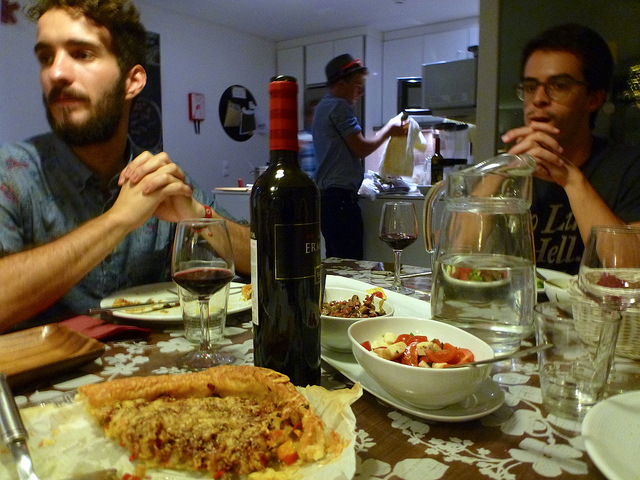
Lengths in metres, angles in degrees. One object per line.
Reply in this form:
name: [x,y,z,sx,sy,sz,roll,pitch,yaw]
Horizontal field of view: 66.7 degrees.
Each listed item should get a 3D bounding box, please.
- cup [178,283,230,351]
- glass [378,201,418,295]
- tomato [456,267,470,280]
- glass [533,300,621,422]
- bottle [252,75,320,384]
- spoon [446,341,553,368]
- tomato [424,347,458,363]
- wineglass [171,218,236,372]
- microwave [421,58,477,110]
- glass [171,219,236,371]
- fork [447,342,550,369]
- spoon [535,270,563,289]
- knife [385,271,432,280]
cup: [-0.243,0.159,1.037,0.114,0.092,0.120,0,7,0]
glass: [0.236,0.035,1.526,0.104,0.295,0.107,2,9,-12]
tomato: [0.255,0.061,0.880,0.020,0.022,0.021,0,2,43]
glass: [0.404,0.200,0.779,0.108,0.155,0.114,2,-2,-34]
bottle: [-0.053,-0.006,0.736,0.100,0.462,0.062,-2,11,-8]
spoon: [0.285,0.186,0.791,0.196,0.022,0.035,-11,29,14]
tomato: [0.184,0.176,0.751,0.041,0.014,0.020,0,6,-13]
wineglass: [-0.218,0.085,0.898,0.098,0.294,0.105,1,4,-15]
microwave: [0.961,-1.277,3.977,0.538,0.368,0.300,-12,25,-18]
glass: [-0.218,0.085,0.900,0.098,0.292,0.105,1,4,-15]
fork: [0.284,0.188,0.791,0.172,0.021,0.030,-15,14,21]
spoon: [0.549,0.097,1.178,0.072,0.009,0.014,37,48,15]
knife: [0.265,0.111,1.491,0.170,0.009,0.017,-5,33,-12]
